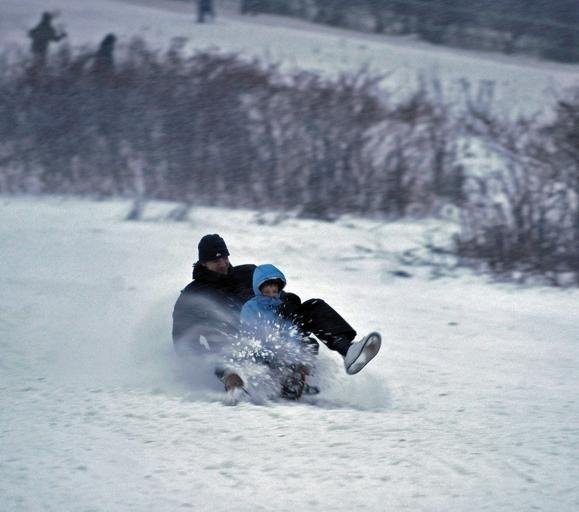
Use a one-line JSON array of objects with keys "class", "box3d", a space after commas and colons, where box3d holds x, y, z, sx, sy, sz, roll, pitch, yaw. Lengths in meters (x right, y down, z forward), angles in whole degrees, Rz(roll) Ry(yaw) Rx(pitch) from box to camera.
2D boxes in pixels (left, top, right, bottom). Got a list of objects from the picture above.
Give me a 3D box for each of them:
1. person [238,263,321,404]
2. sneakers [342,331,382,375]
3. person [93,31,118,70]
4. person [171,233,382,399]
[{"class": "person", "box3d": [-0.019, 0.559, 6.144, 0.477, 0.946, 0.697, -7, 23, -29]}, {"class": "sneakers", "box3d": [0.497, 0.694, 5.917, 0.236, 0.351, 0.179, -10, 27, -36]}, {"class": "person", "box3d": [-3.041, -3.373, 13.412, 0.314, 0.616, 0.785, 2, 17, -11]}, {"class": "person", "box3d": [-0.338, 0.369, 6.401, 2.234, 0.859, 1.104, 4, 12, 41]}]
